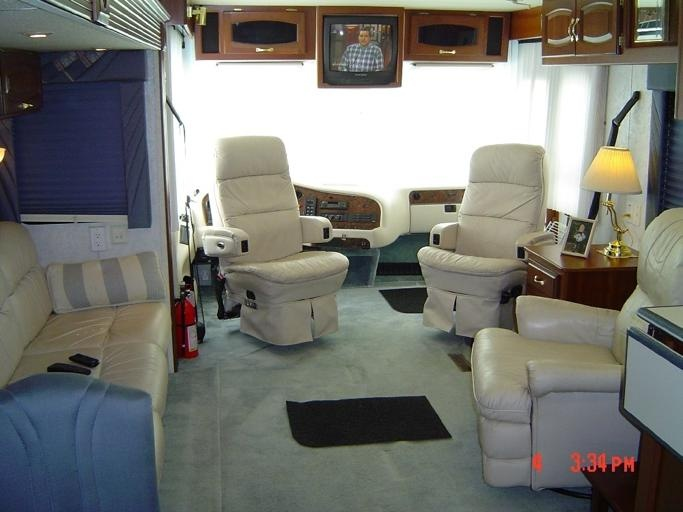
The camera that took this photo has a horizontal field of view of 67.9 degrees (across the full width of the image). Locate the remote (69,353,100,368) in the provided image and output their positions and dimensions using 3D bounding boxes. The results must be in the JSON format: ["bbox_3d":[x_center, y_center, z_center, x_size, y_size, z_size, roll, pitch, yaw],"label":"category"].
[{"bbox_3d":[-1.204,0.470,2.373,0.113,0.028,0.062,15,21,16],"label":"remote"}]

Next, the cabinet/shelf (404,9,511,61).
[{"bbox_3d":[1.091,-2.129,4.762,0.871,0.491,0.395,-1,14,-2],"label":"cabinet/shelf"}]

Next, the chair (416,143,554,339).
[{"bbox_3d":[1.121,-0.151,4.016,0.912,1.374,0.914,-8,15,-27],"label":"chair"}]

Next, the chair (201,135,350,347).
[{"bbox_3d":[-0.494,-0.161,3.988,1.023,1.460,1.093,6,14,17],"label":"chair"}]

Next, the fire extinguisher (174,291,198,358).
[{"bbox_3d":[-1.100,0.471,3.590,0.145,0.463,0.281,-7,18,-11],"label":"fire extinguisher"}]

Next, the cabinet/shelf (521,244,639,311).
[{"bbox_3d":[1.527,0.133,3.325,0.475,0.459,0.481,1,22,-6],"label":"cabinet/shelf"}]
